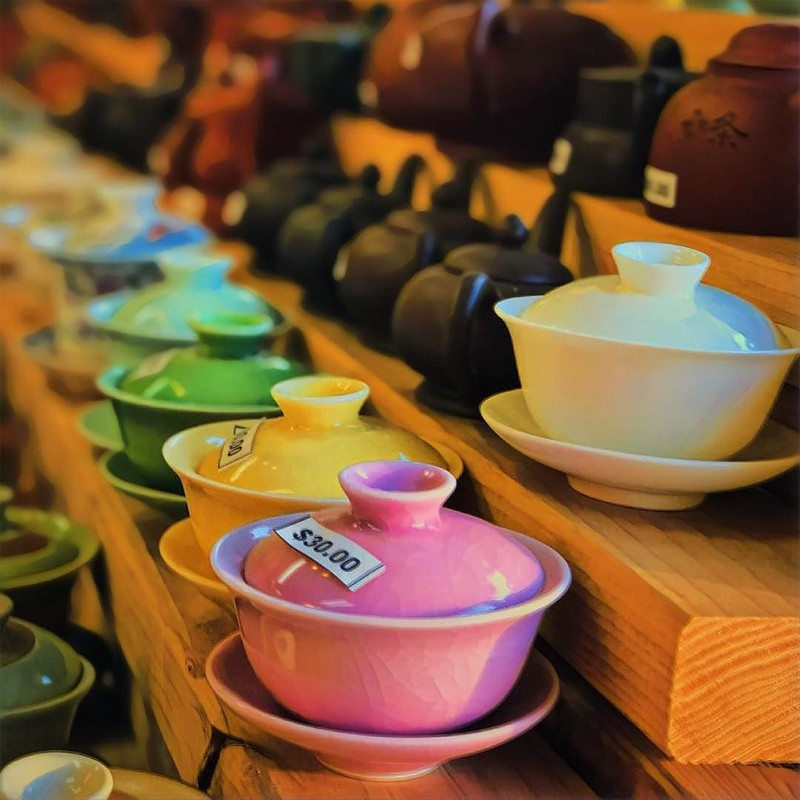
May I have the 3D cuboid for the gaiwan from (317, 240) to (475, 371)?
[{"bbox_3d":[-0.026,-0.109,0.849,0.148,0.114,0.124,-9,21,-40],"label":"gaiwan"}]

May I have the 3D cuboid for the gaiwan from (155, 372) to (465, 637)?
[{"bbox_3d":[-0.061,0.056,0.652,0.226,0.133,0.197,3,19,11],"label":"gaiwan"}]

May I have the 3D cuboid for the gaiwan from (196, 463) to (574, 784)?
[{"bbox_3d":[0.004,0.115,0.493,0.228,0.137,0.213,-12,16,-29],"label":"gaiwan"}]
